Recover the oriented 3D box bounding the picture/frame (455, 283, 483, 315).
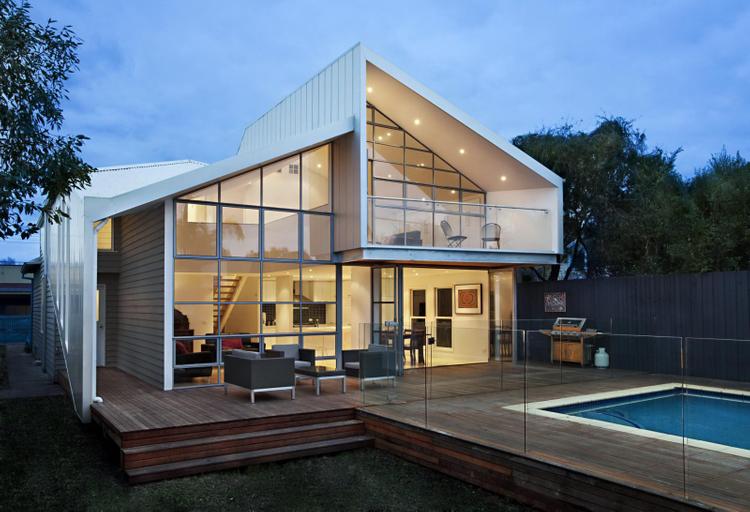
[{"bbox_3d":[3.368,1.481,20.511,0.120,1.037,1.127,7,-8,-31],"label":"picture/frame"}]

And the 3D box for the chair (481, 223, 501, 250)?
[{"bbox_3d":[3.616,-0.688,18.580,0.742,1.065,0.722,0,-4,-5],"label":"chair"}]

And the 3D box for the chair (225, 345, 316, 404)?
[{"bbox_3d":[-2.702,3.067,13.911,1.224,1.192,1.832,1,-3,-34],"label":"chair"}]

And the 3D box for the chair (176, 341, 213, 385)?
[{"bbox_3d":[-4.942,2.713,15.204,1.020,1.041,0.966,1,-2,-41],"label":"chair"}]
